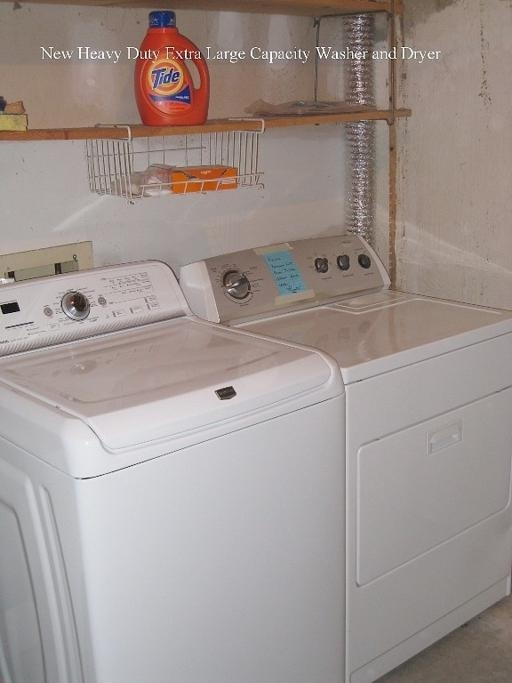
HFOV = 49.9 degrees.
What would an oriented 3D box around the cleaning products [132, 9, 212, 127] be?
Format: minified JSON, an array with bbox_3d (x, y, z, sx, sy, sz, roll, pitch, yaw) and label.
[{"bbox_3d":[-0.210,-0.667,1.363,0.182,0.266,0.087,-2,14,-9],"label":"cleaning products"}]
